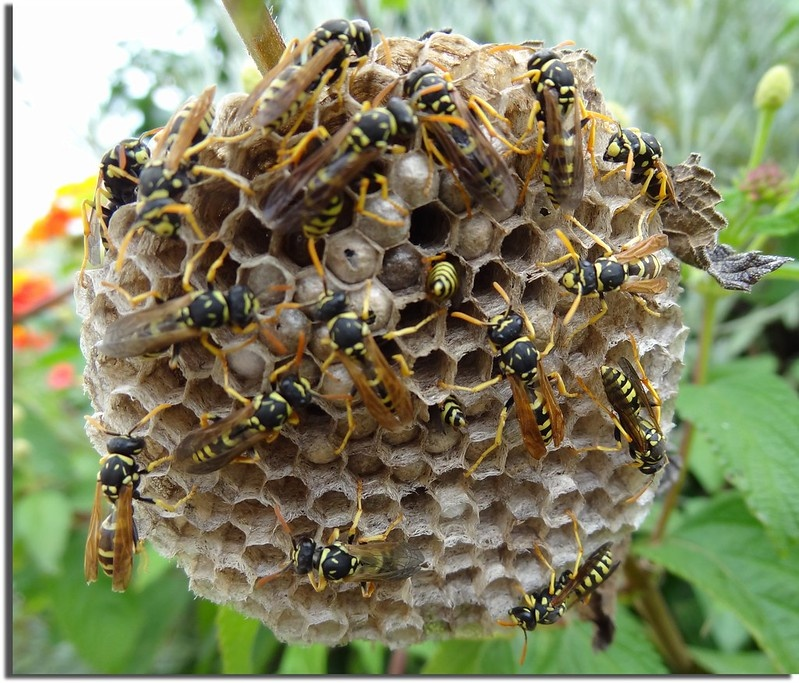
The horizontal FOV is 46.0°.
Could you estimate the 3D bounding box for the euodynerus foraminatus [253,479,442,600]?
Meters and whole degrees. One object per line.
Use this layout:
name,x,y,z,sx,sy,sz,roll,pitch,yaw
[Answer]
euodynerus foraminatus,-0.119,0.532,2.379,0.332,0.096,0.308,4,99,-3

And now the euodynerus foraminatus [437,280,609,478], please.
euodynerus foraminatus,0.306,0.071,2.198,0.403,0.126,0.397,-13,100,-7

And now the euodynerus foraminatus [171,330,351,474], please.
euodynerus foraminatus,-0.310,0.164,2.361,0.422,0.152,0.276,-29,76,3

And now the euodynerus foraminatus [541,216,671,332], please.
euodynerus foraminatus,0.483,-0.166,2.341,0.297,0.149,0.243,-10,92,0
